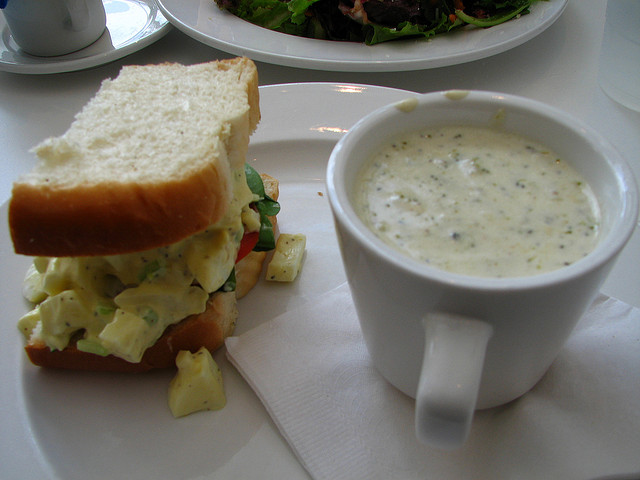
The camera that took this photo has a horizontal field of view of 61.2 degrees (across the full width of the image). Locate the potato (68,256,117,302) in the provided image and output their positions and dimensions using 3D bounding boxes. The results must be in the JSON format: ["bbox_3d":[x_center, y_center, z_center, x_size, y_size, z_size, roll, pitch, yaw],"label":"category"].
[{"bbox_3d":[-0.540,0.084,1.269,0.048,0.111,0.107,-2,54,54],"label":"potato"}]

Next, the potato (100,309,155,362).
[{"bbox_3d":[-0.436,0.219,1.229,0.088,0.070,0.092,19,59,15],"label":"potato"}]

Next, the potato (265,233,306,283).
[{"bbox_3d":[-0.093,0.040,1.540,0.085,0.046,0.176,6,39,9],"label":"potato"}]

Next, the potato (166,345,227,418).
[{"bbox_3d":[-0.299,0.333,1.262,0.137,0.078,0.160,-17,58,-8],"label":"potato"}]

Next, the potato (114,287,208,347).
[{"bbox_3d":[-0.392,0.133,1.322,0.170,0.134,0.227,14,24,34],"label":"potato"}]

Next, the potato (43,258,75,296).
[{"bbox_3d":[-0.606,0.087,1.301,0.072,0.036,0.101,3,74,43],"label":"potato"}]

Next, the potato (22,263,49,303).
[{"bbox_3d":[-0.744,0.121,1.425,0.085,0.026,0.115,1,59,-9],"label":"potato"}]
